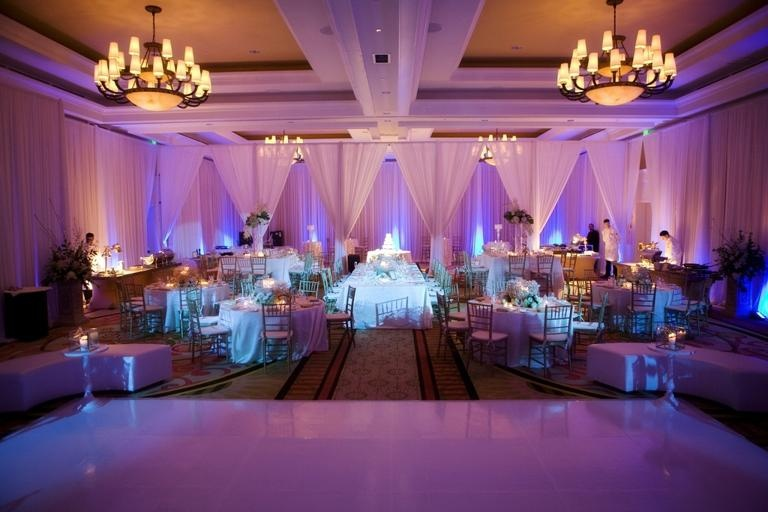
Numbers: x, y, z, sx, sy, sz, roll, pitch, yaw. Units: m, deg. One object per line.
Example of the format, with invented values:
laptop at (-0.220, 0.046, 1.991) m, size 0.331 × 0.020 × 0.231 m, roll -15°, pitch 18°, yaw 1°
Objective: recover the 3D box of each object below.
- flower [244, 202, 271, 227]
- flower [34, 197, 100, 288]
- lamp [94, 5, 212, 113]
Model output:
flower at (-3.823, -1.251, 15.384) m, size 0.616 × 0.488 × 0.788 m, roll -4°, pitch 16°, yaw 14°
flower at (-7.099, -0.209, 11.120) m, size 1.123 × 1.959 × 0.933 m, roll 9°, pitch 16°, yaw 37°
lamp at (-4.102, -3.238, 9.242) m, size 2.010 × 1.775 × 2.028 m, roll -1°, pitch -3°, yaw 2°
